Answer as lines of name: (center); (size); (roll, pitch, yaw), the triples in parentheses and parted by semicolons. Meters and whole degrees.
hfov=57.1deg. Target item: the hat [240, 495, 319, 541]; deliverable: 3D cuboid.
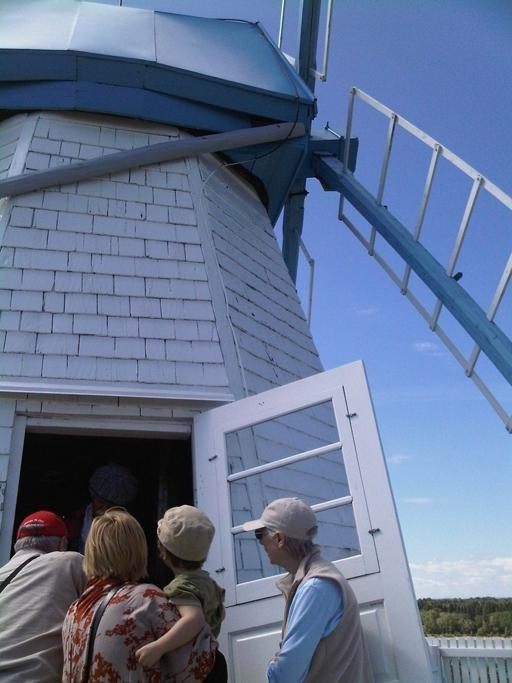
hat: (0.072, 0.555, 1.513); (0.184, 0.096, 0.117); (5, -11, 21)

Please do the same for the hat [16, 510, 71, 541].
hat: (-0.713, 0.609, 1.628); (0.099, 0.073, 0.135); (1, -4, 3)
